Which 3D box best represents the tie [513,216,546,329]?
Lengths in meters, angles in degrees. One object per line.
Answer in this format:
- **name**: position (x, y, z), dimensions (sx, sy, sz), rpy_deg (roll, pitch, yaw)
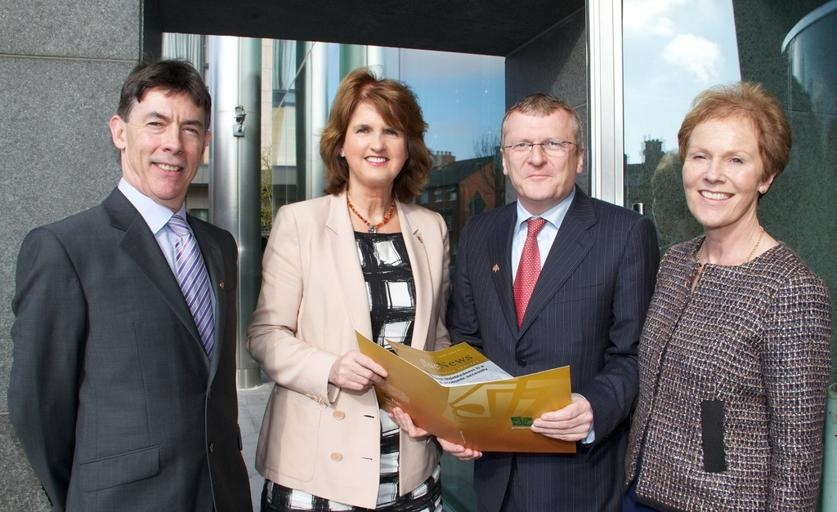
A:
- **tie**: position (0.610, 0.069, 3.803), dimensions (0.129, 0.717, 0.093), rpy_deg (-1, -28, 26)
